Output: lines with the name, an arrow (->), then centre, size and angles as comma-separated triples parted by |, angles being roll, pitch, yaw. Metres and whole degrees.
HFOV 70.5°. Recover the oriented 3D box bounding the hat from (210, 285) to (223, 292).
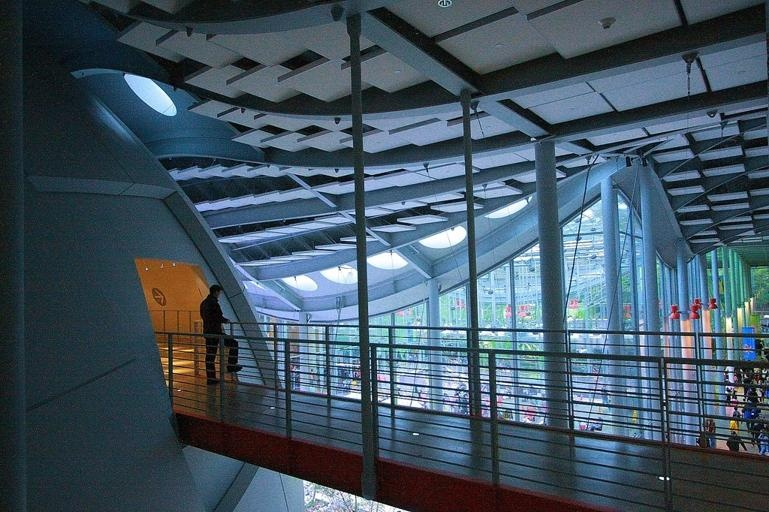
hat -> -2.335, 0.448, 7.530 | 0.104, 0.060, 0.140 | -1, 8, 39
